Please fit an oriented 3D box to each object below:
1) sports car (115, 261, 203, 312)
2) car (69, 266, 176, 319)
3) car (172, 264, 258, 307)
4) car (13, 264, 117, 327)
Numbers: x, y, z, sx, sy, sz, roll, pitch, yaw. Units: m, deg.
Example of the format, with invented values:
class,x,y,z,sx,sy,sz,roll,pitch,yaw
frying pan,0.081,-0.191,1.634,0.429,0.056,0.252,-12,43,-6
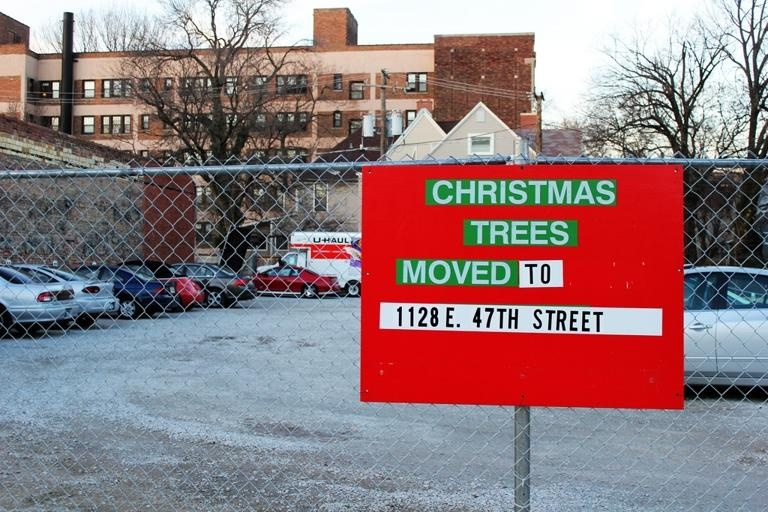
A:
class,x,y,z,sx,sy,sz,roll,pitch,yaw
sports car,-4.866,0.669,21.676,2.707,0.877,1.130,4,3,13
car,-5.398,0.732,20.570,2.788,0.900,1.171,3,1,15
car,-3.363,0.585,19.593,2.360,0.751,1.002,3,-1,9
car,-6.265,0.761,19.648,2.792,0.908,1.109,6,3,18
